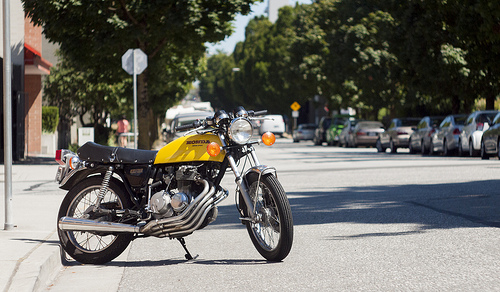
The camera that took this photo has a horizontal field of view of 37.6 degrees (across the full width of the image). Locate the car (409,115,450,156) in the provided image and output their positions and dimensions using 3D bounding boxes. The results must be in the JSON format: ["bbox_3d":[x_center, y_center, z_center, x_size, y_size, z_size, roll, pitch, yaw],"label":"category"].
[{"bbox_3d":[8.492,-0.405,34.645,1.780,1.516,4.048,0,1,2],"label":"car"}]

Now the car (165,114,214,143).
[{"bbox_3d":[-2.907,-0.800,34.325,1.758,1.757,3.071,-2,-11,-10],"label":"car"}]

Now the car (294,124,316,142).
[{"bbox_3d":[4.623,-1.049,61.967,1.467,1.199,3.367,0,3,1],"label":"car"}]

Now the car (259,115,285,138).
[{"bbox_3d":[2.243,-1.878,69.498,1.873,1.806,3.348,-1,6,-6],"label":"car"}]

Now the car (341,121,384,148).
[{"bbox_3d":[6.937,-0.693,45.051,1.501,1.209,3.522,0,2,-2],"label":"car"}]
